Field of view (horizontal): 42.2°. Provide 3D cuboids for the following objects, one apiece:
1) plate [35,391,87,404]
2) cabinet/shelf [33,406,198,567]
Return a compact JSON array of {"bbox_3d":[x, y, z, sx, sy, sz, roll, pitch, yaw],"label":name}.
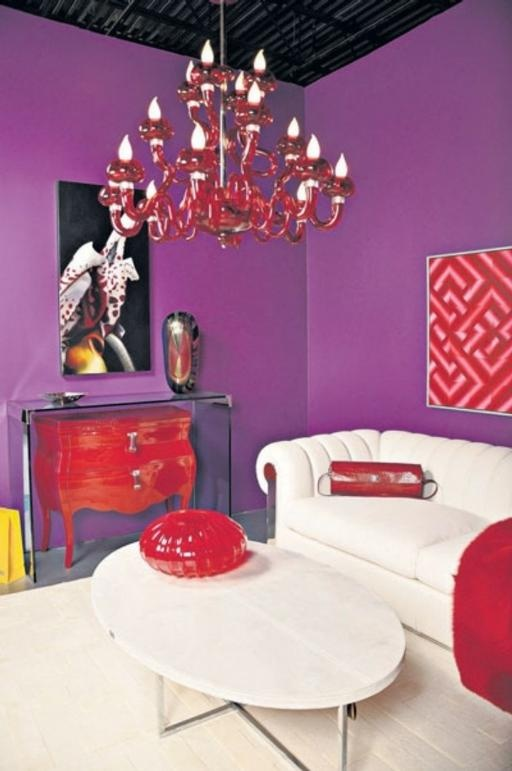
[{"bbox_3d":[-0.934,0.065,3.228,0.092,0.041,0.127,5,8,36],"label":"plate"},{"bbox_3d":[-0.675,0.445,3.055,0.727,0.620,0.329,-4,7,-31],"label":"cabinet/shelf"}]
